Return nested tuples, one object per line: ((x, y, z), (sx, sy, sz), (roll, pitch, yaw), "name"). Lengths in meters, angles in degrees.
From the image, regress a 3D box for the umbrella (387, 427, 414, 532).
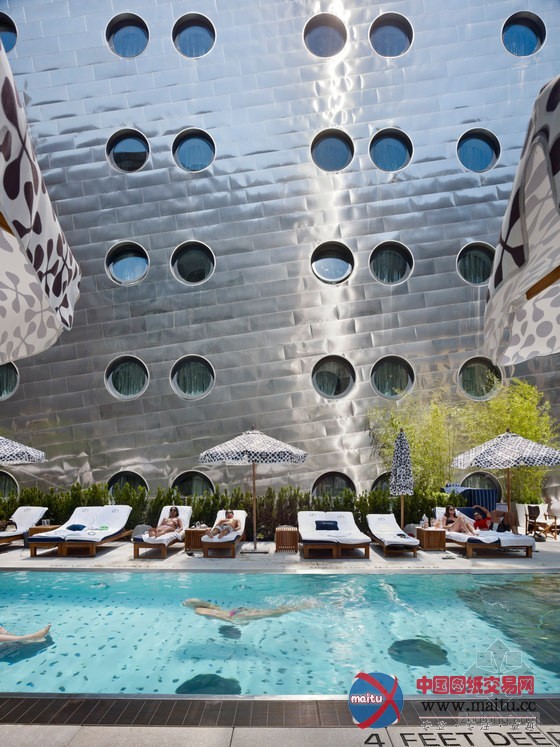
((2.718, 2.440, 11.537), (0.472, 2.265, 1.286), (-1, -7, 12), "umbrella")

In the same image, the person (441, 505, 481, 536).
((3.967, 3.277, 11.233), (0.341, 0.434, 0.722), (-3, -13, -16), "person")

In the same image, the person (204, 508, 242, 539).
((-1.142, 3.082, 10.398), (0.349, 0.317, 0.746), (-3, 0, 10), "person")

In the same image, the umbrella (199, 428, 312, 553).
((-0.495, 1.804, 11.691), (2.315, 2.779, 2.520), (-4, -4, 14), "umbrella")

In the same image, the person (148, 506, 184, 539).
((-2.436, 3.129, 10.816), (0.593, 0.448, 1.307), (1, -8, -6), "person")

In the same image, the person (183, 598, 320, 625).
((-0.459, 3.110, 6.624), (1.666, 0.297, 0.587), (-1, -12, 11), "person")
